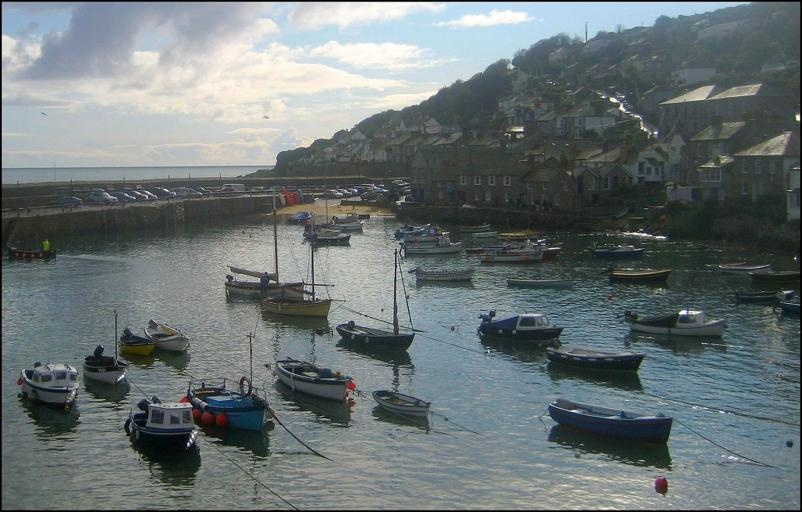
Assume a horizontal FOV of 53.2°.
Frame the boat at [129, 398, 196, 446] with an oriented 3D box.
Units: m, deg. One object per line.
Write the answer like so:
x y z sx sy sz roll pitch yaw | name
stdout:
-16.149 10.920 52.697 2.636 1.632 5.091 -2 4 -44 | boat

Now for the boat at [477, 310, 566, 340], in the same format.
9.611 5.771 66.254 5.787 1.635 2.661 1 6 13 | boat

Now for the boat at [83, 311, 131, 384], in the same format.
-21.526 8.137 61.257 2.560 4.247 7.778 2 -2 -31 | boat

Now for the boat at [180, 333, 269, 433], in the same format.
-12.431 10.171 55.181 3.444 2.076 6.383 -6 13 -38 | boat

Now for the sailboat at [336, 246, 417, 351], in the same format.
-2.364 4.130 75.891 6.115 8.345 4.913 4 -1 -35 | sailboat

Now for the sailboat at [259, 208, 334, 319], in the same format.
-9.504 2.131 74.589 5.789 6.583 9.785 0 2 -6 | sailboat

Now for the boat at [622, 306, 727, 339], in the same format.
23.202 5.739 67.286 9.094 2.564 2.928 0 5 16 | boat

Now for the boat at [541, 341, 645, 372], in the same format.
14.542 7.866 62.056 5.002 1.434 7.056 0 -2 8 | boat
